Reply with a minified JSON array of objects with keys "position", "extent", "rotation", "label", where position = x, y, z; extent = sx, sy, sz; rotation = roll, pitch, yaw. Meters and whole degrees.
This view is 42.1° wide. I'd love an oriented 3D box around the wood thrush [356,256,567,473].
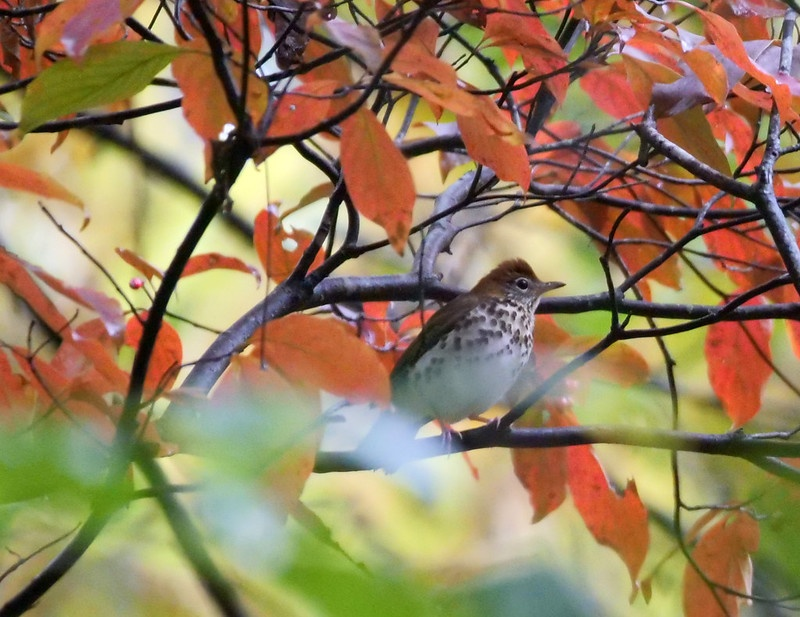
[{"position":[0.086,0.064,1.861],"extent":[0.492,0.242,0.175],"rotation":[-11,-21,44],"label":"wood thrush"}]
